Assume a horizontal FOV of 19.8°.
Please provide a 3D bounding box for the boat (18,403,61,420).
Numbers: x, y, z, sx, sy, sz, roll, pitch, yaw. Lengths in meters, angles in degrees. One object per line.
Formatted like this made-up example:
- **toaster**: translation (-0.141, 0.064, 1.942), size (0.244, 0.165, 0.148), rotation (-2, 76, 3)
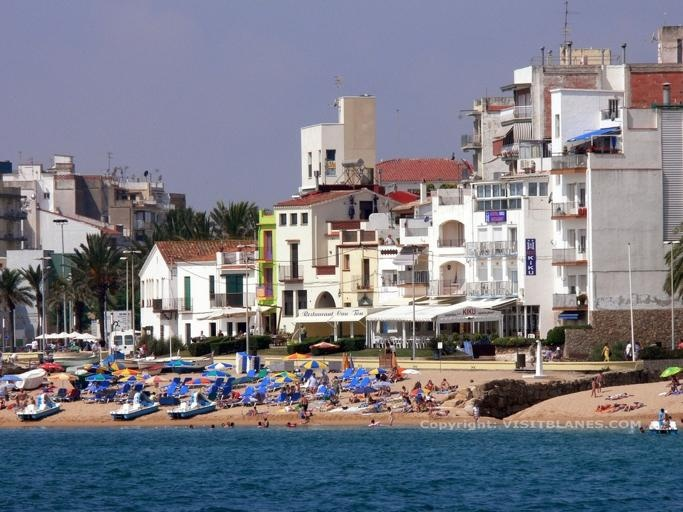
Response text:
- **boat**: translation (-22.584, 11.442, 146.307), size (2.377, 0.927, 1.304), rotation (-1, -4, -7)

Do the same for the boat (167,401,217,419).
- **boat**: translation (-10.893, 11.190, 143.192), size (2.559, 0.701, 1.423), rotation (-7, 8, -23)
